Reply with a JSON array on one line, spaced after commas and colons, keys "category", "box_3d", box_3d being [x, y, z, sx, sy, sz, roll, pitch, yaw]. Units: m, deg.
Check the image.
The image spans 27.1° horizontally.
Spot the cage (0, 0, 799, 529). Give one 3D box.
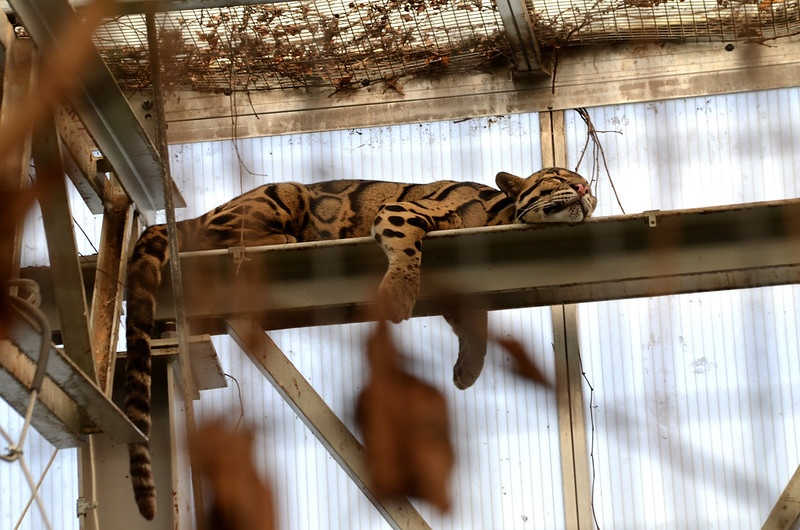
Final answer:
[{"category": "cage", "box_3d": [-0.143, -1.181, 11.848, 4.545, 4.868, 3.708, -7, -38, -7]}]
